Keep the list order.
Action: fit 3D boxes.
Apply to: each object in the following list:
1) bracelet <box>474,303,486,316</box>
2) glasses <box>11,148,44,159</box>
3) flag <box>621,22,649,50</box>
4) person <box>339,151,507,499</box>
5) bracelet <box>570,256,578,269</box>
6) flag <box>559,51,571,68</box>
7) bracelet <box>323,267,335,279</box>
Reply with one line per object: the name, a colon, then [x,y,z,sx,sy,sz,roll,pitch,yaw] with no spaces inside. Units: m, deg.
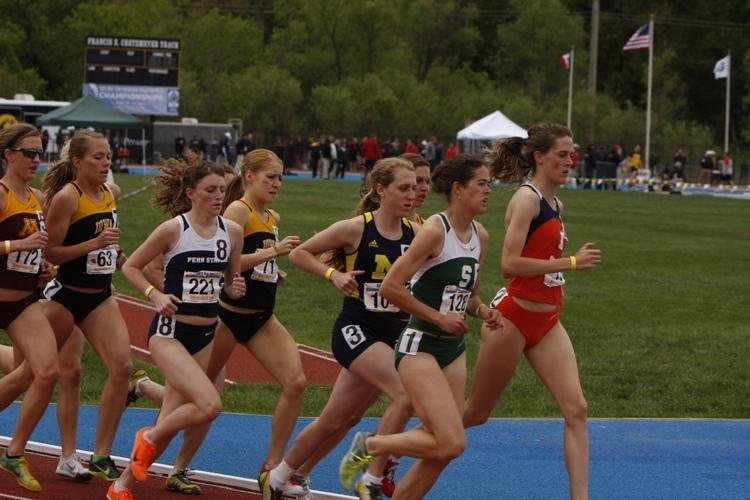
bracelet: [0.854,0.476,6.310,0.063,0.086,0.043,0,2,-10]
glasses: [-2.898,-0.823,6.768,0.139,0.089,0.264,6,5,41]
flag: [11.290,-9.147,34.148,0.964,1.217,1.019,3,4,18]
person: [0.439,0.698,6.162,0.962,2.875,0.903,4,4,25]
bracelet: [1.556,0.107,6.265,0.085,0.069,0.087,-6,-26,6]
flag: [9.388,-9.311,38.993,0.438,0.811,1.886,3,4,14]
bracelet: [-0.350,0.184,6.363,0.022,0.081,0.084,29,-20,-3]
